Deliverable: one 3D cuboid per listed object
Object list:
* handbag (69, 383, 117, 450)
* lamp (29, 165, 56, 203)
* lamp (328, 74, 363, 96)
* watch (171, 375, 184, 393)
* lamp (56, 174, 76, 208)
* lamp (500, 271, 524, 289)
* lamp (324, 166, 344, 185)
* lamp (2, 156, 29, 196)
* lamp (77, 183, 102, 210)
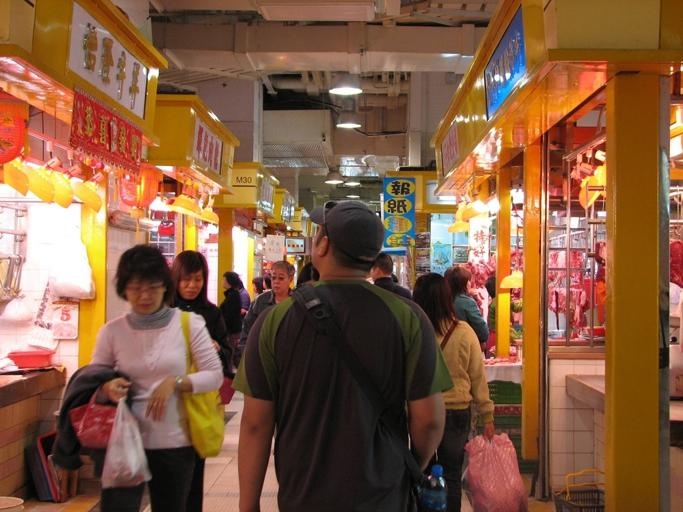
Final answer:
[{"bbox_3d":[-1.265,0.815,2.994,0.238,0.326,0.104,8,12,-37],"label":"handbag"},{"bbox_3d":[-2.290,-0.543,4.447,0.053,0.239,0.226,-22,-53,25],"label":"lamp"},{"bbox_3d":[0.075,-2.835,9.429,0.430,0.424,0.539,2,-3,22],"label":"lamp"},{"bbox_3d":[-0.868,0.687,3.092,0.069,0.077,0.065,5,28,-12],"label":"watch"},{"bbox_3d":[-2.274,-0.531,4.769,0.174,0.256,0.113,5,-4,-43],"label":"lamp"},{"bbox_3d":[1.679,0.233,5.722,0.196,0.152,0.318,2,-3,20],"label":"lamp"},{"bbox_3d":[-0.221,-2.509,17.788,0.545,0.649,0.596,-1,-6,-1],"label":"lamp"},{"bbox_3d":[-2.301,-0.563,4.119,0.117,0.148,0.302,3,-3,-9],"label":"lamp"},{"bbox_3d":[-2.176,-0.510,5.008,0.200,0.237,0.330,4,-3,-17],"label":"lamp"}]
